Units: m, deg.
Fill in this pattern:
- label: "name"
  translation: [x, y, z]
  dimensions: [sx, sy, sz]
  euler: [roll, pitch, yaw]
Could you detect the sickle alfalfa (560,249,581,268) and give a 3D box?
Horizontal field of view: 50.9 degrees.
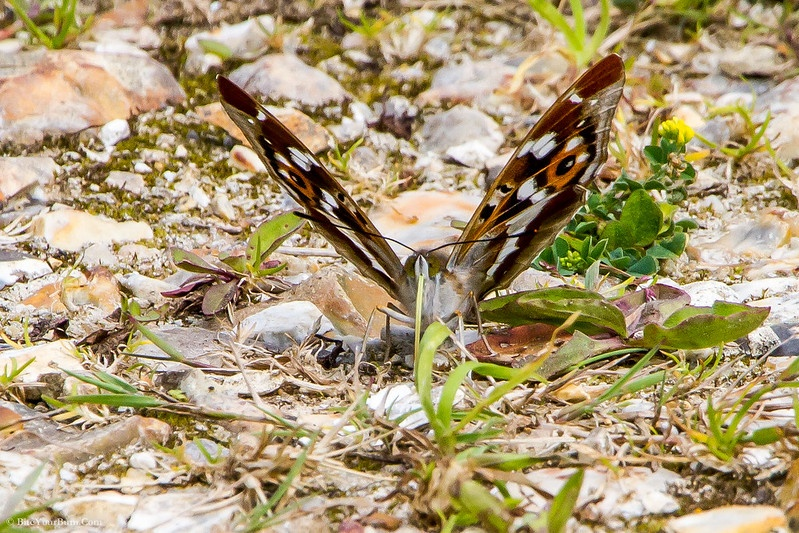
- label: "sickle alfalfa"
  translation: [0.657, -0.035, 3.240]
  dimensions: [0.082, 0.040, 0.078]
  euler: [-15, 15, -36]
